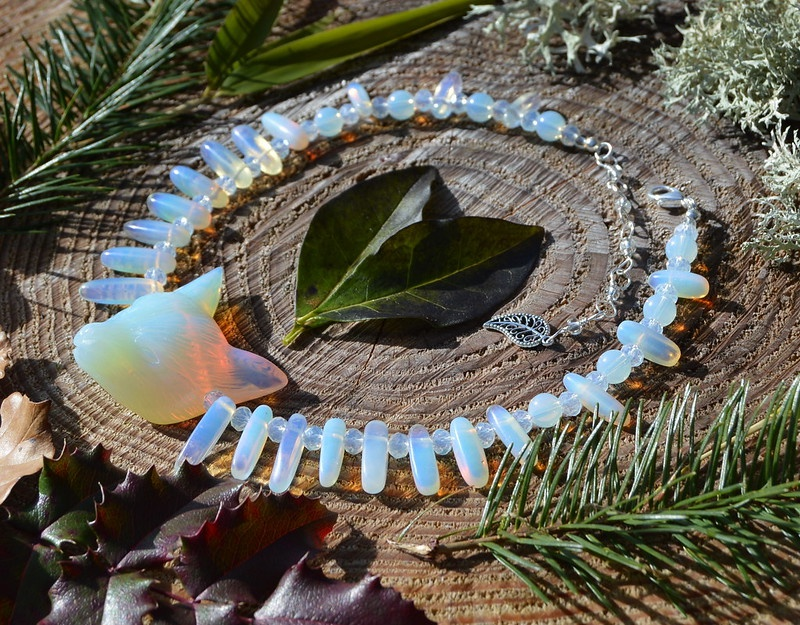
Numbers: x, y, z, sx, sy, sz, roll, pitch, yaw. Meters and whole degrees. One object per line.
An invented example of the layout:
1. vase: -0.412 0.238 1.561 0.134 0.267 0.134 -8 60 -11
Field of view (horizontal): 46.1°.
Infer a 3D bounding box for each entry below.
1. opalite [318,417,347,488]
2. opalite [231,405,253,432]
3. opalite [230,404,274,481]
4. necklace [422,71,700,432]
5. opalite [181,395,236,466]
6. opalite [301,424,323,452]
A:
1. opalite: -0.167 0.311 2.310 0.071 0.041 0.174 0 27 1
2. opalite: -0.397 0.265 2.346 0.069 0.016 0.052 -2 98 4
3. opalite: -0.358 0.318 2.317 0.068 0.059 0.183 33 53 -7
4. necklace: 0.535 -0.244 2.803 0.984 0.195 0.784 41 81 20
5. opalite: -0.465 0.285 2.284 0.209 0.067 0.063 -49 112 -25
6. opalite: -0.215 0.309 2.312 0.064 0.057 0.055 2 84 -25
